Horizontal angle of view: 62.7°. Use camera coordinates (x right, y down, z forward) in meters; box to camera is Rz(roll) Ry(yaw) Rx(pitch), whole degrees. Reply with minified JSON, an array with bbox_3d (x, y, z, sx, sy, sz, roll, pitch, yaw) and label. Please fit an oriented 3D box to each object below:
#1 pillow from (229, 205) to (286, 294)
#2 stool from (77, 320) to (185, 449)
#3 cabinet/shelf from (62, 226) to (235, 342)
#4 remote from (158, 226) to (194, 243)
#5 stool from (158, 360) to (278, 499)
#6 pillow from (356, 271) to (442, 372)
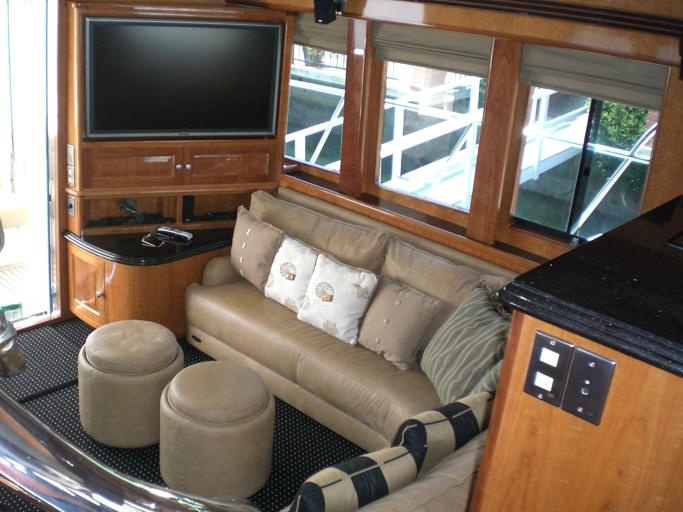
[{"bbox_3d":[-0.661,-0.049,4.138,0.188,0.493,0.529,-6,31,-43],"label":"pillow"},{"bbox_3d":[-1.268,0.721,3.311,0.583,0.528,0.581,1,22,-27],"label":"stool"},{"bbox_3d":[-1.499,0.159,4.486,1.266,0.581,1.287,0,13,-1],"label":"cabinet/shelf"},{"bbox_3d":[-1.281,-0.167,4.281,0.265,0.068,0.134,18,25,22],"label":"remote"},{"bbox_3d":[-0.660,0.890,2.982,0.598,0.515,0.592,0,22,-14],"label":"stool"},{"bbox_3d":[0.361,0.403,3.307,0.479,0.464,0.140,27,8,38],"label":"pillow"}]
